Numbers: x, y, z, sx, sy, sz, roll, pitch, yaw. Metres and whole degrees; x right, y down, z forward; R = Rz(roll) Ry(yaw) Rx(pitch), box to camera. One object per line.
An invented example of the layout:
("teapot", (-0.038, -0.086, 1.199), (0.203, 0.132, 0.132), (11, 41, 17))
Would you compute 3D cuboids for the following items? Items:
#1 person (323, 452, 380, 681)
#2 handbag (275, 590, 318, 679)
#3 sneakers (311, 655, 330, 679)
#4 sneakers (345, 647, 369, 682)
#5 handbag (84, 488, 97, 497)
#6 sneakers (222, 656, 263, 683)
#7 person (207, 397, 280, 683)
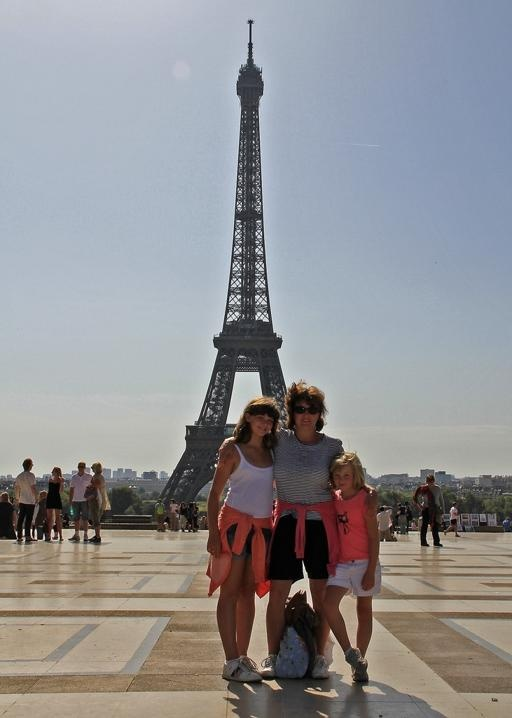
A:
("person", (0.592, 1.189, 4.340), (0.325, 1.185, 0.355), (-1, -10, 9))
("handbag", (0.248, 1.660, 4.238), (0.241, 0.443, 0.338), (0, -10, 8))
("sneakers", (0.379, 1.813, 4.130), (0.093, 0.108, 0.139), (-1, -10, 9))
("sneakers", (0.570, 1.725, 3.969), (0.083, 0.163, 0.235), (-1, 5, 2))
("handbag", (-3.525, 2.861, 14.997), (0.180, 0.232, 0.121), (4, -29, -4))
("sneakers", (-0.064, 1.744, 3.920), (0.237, 0.118, 0.184), (5, -10, -26))
("person", (-0.081, 1.053, 4.320), (0.439, 1.643, 0.750), (1, -10, -1))
